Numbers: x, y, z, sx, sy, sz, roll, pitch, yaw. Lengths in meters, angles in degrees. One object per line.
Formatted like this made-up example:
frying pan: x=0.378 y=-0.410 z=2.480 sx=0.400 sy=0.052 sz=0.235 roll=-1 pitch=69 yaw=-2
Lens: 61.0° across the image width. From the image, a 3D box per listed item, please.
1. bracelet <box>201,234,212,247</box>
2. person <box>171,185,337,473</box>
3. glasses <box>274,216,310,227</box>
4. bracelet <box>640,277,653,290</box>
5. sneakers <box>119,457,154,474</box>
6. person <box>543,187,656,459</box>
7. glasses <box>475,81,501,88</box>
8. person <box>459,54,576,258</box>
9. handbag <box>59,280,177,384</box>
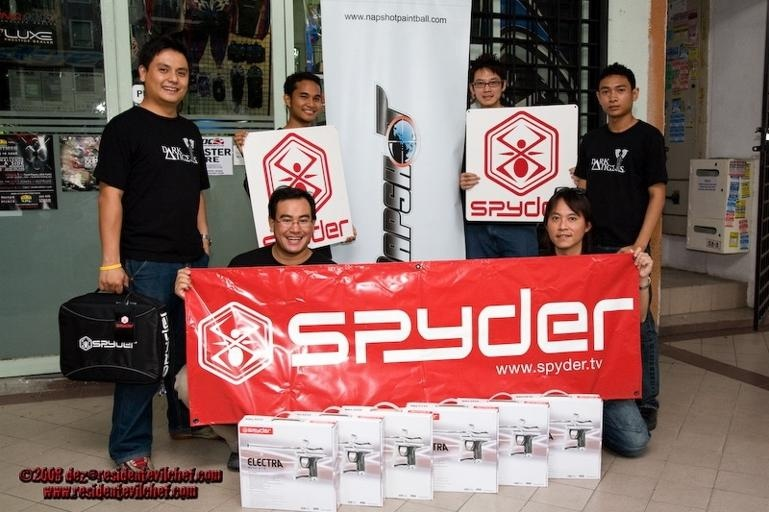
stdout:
bracelet: x=-1.178 y=-0.094 z=4.328 sx=0.054 sy=0.083 sz=0.087 roll=-14 pitch=20 yaw=-21
person: x=-0.728 y=0.418 z=4.021 sx=0.910 sy=1.649 sz=0.611 roll=-9 pitch=17 yaw=-28
glasses: x=-0.555 y=-0.220 z=3.928 sx=0.236 sy=0.076 sz=0.084 roll=-2 pitch=15 yaw=-7
bracelet: x=1.592 y=0.172 z=3.996 sx=0.078 sy=0.107 sz=0.041 roll=1 pitch=0 yaw=8
sneakers: x=-1.476 y=1.256 z=3.893 sx=0.212 sy=0.091 sz=0.076 roll=9 pitch=-4 yaw=-7
person: x=1.309 y=0.404 z=4.079 sx=0.750 sy=1.594 sz=0.452 roll=5 pitch=16 yaw=22
glasses: x=0.735 y=-1.250 z=4.699 sx=0.193 sy=0.043 sz=0.041 roll=1 pitch=15 yaw=6
person: x=0.837 y=-0.709 z=4.711 sx=0.567 sy=1.453 sz=0.471 roll=2 pitch=15 yaw=12
handbag: x=-1.545 y=0.451 z=3.814 sx=0.686 sy=0.612 sz=0.283 roll=0 pitch=-1 yaw=0
